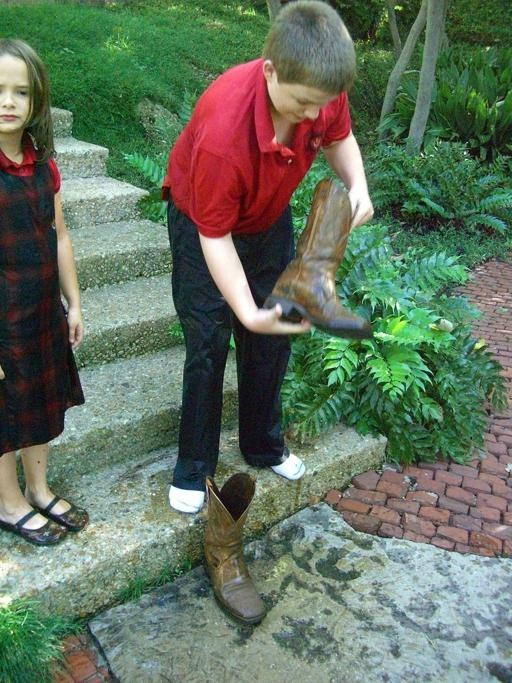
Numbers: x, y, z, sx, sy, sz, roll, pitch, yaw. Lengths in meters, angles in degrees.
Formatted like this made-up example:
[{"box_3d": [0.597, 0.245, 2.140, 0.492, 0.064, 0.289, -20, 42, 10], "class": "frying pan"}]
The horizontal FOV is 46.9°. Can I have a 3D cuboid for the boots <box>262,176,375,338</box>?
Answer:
[{"box_3d": [0.191, -0.232, 1.678, 0.296, 0.387, 0.528, 7, 27, 0], "class": "boots"}]
